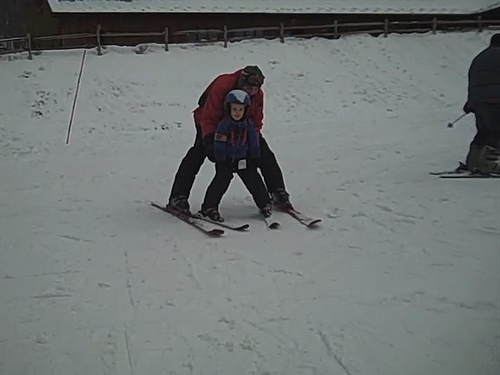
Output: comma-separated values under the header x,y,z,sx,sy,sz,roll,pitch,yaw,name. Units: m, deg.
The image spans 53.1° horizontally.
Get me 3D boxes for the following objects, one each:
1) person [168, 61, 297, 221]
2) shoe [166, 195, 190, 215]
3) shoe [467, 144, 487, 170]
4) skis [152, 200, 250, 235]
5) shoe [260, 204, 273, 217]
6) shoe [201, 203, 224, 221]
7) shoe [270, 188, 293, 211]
x,y,z,sx,sy,sz,roll,pitch,yaw,name
-0.100,-0.465,4.598,1.168,1.437,0.821,2,15,-2,person
-0.645,0.160,4.551,0.113,0.112,0.248,-3,14,-41,shoe
2.343,-0.309,5.174,0.072,0.277,0.167,3,9,-33,shoe
-0.353,0.209,4.288,0.768,0.065,0.187,18,45,38,skis
0.160,0.212,4.467,0.098,0.101,0.087,6,8,-13,shoe
-0.329,0.226,4.497,0.084,0.125,0.249,0,16,-43,shoe
0.292,0.109,4.599,0.094,0.129,0.277,-11,20,-30,shoe
